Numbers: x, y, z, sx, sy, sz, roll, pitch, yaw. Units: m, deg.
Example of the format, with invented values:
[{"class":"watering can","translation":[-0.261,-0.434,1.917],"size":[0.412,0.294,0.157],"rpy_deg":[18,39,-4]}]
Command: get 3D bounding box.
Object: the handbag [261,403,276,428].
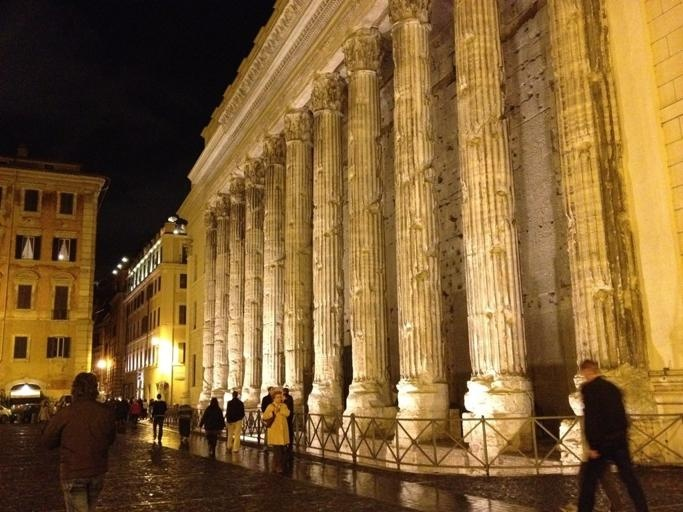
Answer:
[{"class":"handbag","translation":[-1.839,4.082,17.091],"size":[0.188,0.518,0.373],"rpy_deg":[8,-3,-20]}]
